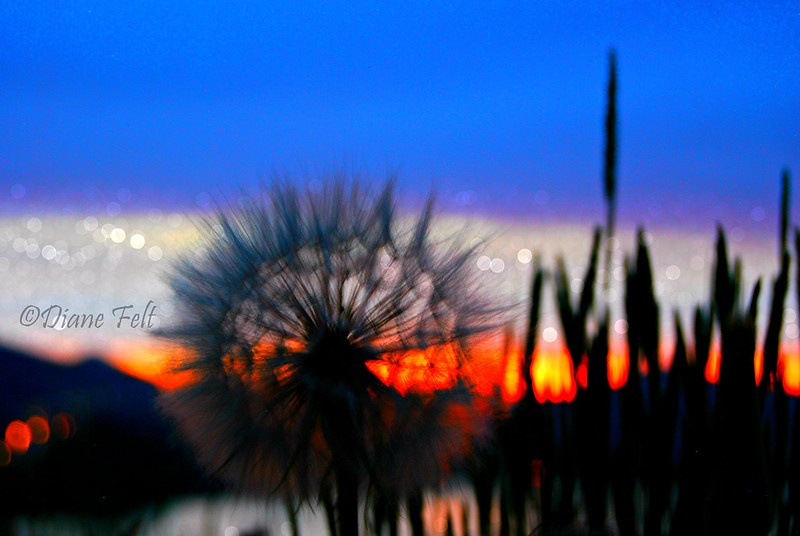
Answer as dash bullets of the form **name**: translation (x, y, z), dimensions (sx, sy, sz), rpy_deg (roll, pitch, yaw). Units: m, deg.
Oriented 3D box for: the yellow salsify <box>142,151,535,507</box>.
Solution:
- **yellow salsify**: translation (-0.153, 0.161, 2.156), dimensions (0.562, 0.721, 0.273), rpy_deg (-5, 2, 1)
